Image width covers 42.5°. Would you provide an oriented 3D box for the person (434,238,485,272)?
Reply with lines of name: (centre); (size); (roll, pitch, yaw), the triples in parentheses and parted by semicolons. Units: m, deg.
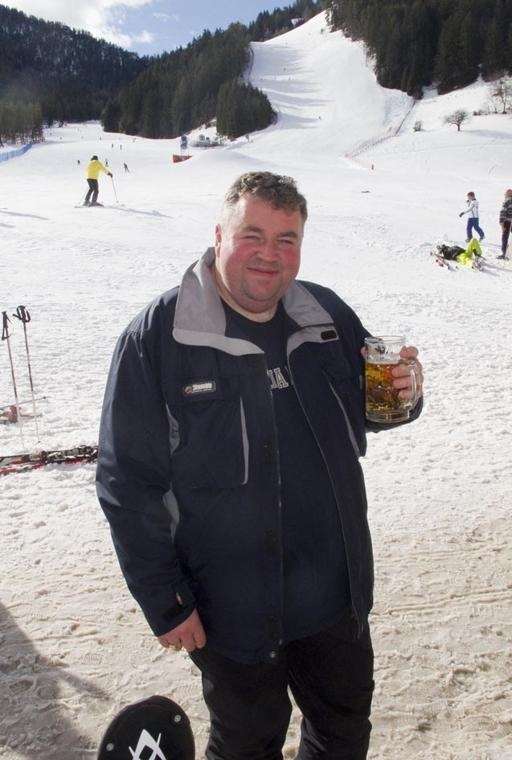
person: (4.521, -2.705, 14.466); (0.663, 0.456, 0.963); (-11, 15, 1)
